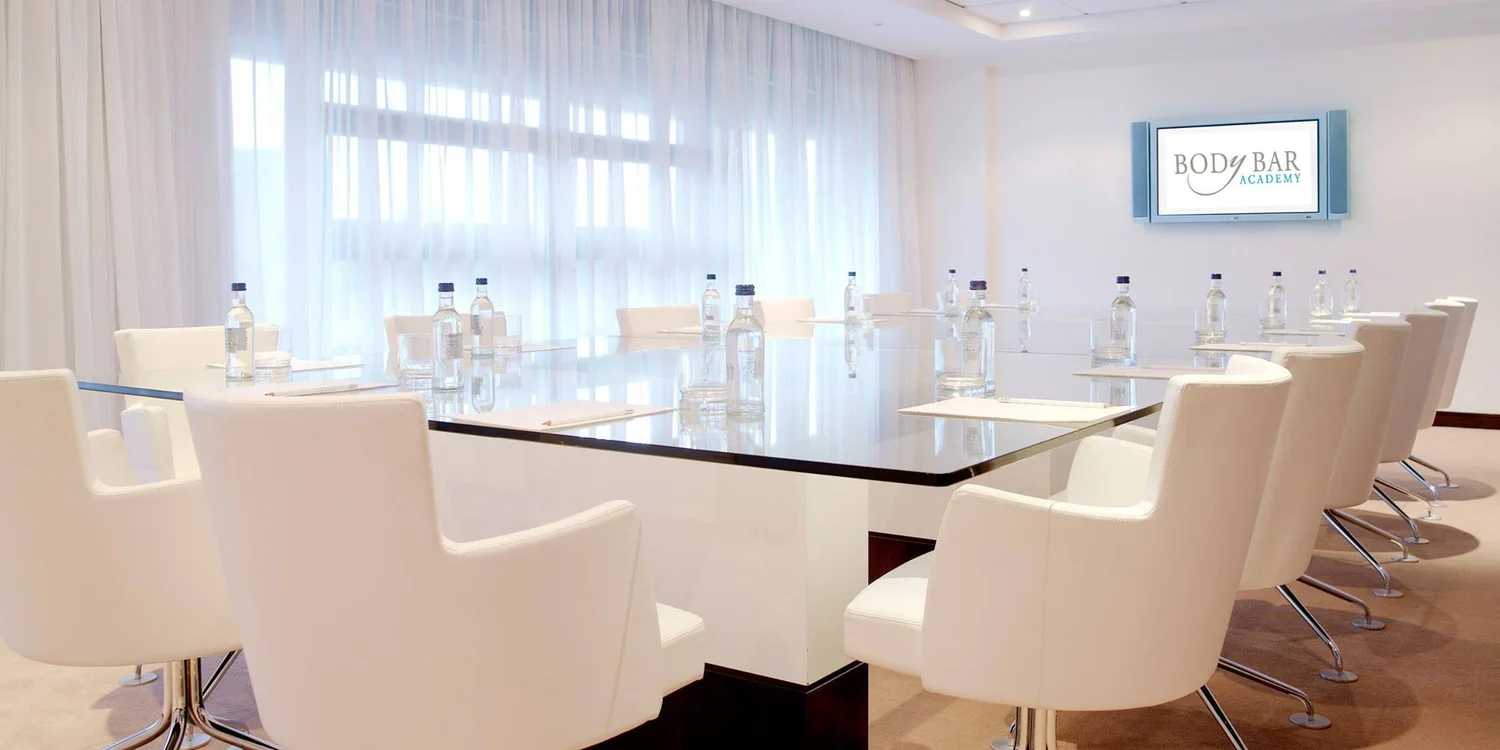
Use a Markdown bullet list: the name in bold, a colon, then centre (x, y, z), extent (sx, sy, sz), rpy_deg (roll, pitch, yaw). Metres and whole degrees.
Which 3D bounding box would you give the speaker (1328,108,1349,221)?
- **speaker**: centre (5.709, -2.044, 8.833), extent (0.246, 1.032, 0.176), rpy_deg (3, 12, 28)

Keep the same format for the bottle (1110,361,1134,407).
- **bottle**: centre (1.570, 0.039, 3.814), extent (0.068, 0.233, 0.058), rpy_deg (2, 26, 21)

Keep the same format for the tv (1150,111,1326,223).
- **tv**: centre (5.000, -2.096, 9.169), extent (1.416, 0.751, 0.096), rpy_deg (0, 4, 27)

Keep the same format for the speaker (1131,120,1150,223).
- **speaker**: centre (4.126, -2.138, 9.602), extent (0.188, 1.013, 0.114), rpy_deg (1, 11, 18)

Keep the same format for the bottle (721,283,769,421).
- **bottle**: centre (-0.029, -0.086, 3.379), extent (0.143, 0.480, 0.289), rpy_deg (-3, 10, -2)
